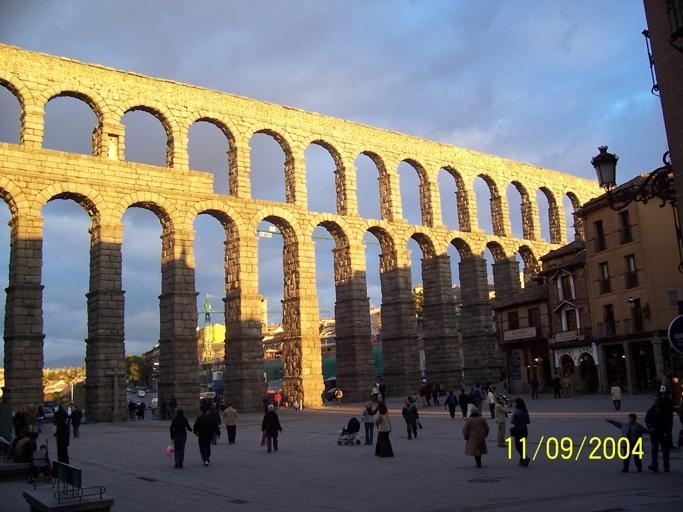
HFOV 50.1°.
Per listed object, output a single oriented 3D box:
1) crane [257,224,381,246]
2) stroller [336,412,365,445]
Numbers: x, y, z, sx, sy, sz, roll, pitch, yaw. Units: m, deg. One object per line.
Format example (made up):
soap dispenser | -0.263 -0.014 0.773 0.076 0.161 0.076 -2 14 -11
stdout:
crane | -1.360 -1.433 44.000 2.892 0.954 7.417 2 -11 -38
stroller | 0.235 6.491 27.215 0.922 0.992 0.713 0 -14 -13
